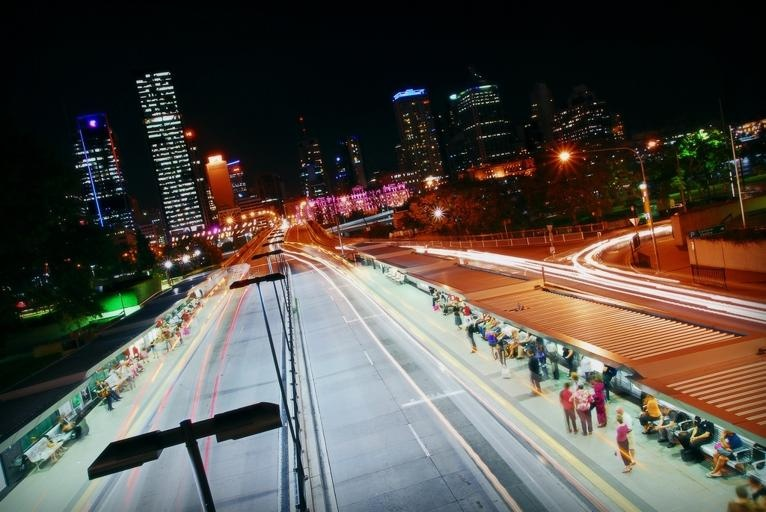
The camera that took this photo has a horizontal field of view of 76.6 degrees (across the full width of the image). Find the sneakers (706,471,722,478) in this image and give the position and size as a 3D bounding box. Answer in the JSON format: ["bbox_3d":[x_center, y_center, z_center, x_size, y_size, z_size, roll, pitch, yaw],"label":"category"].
[{"bbox_3d":[11.997,7.944,17.558,0.358,0.092,0.200,3,-5,0],"label":"sneakers"}]

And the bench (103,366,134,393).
[{"bbox_3d":[-18.382,8.739,33.956,1.655,0.404,1.601,27,19,23],"label":"bench"}]
